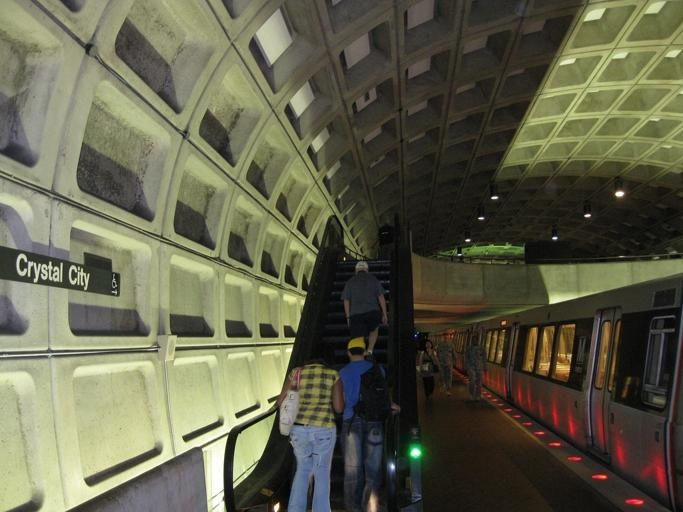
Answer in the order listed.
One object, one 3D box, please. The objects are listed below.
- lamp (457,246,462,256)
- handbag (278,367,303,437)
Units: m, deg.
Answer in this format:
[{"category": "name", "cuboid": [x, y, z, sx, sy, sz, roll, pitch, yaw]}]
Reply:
[{"category": "lamp", "cuboid": [11.339, -0.451, 40.421, 0.767, 0.857, 1.490, 2, 7, 10]}, {"category": "handbag", "cuboid": [-0.563, 1.658, 4.759, 0.179, 0.693, 0.254, -5, -9, 20]}]
